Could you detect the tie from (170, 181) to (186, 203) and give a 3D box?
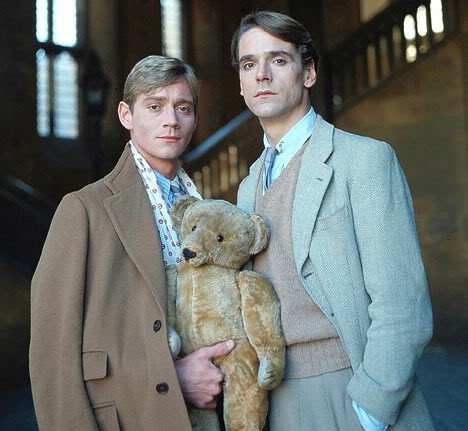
[{"bbox_3d":[-0.366,-0.157,6.337,0.091,0.141,0.034,-2,-6,-25],"label":"tie"}]
